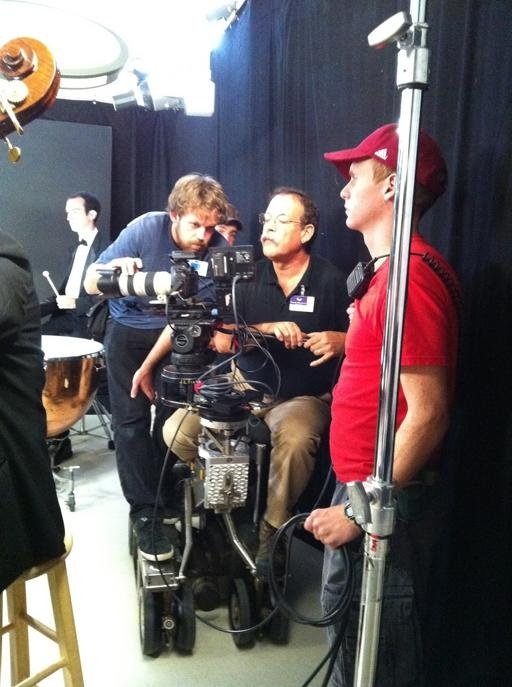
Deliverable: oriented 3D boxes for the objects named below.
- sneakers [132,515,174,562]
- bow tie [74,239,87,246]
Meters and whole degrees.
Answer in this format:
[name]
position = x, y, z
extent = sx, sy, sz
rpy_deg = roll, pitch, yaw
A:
[sneakers]
position = -0.355, 0.653, 2.232
extent = 0.117, 0.102, 0.305
rpy_deg = 0, -4, -21
[bow tie]
position = -1.342, -0.776, 5.018
extent = 0.065, 0.056, 0.021
rpy_deg = -2, -16, 24
